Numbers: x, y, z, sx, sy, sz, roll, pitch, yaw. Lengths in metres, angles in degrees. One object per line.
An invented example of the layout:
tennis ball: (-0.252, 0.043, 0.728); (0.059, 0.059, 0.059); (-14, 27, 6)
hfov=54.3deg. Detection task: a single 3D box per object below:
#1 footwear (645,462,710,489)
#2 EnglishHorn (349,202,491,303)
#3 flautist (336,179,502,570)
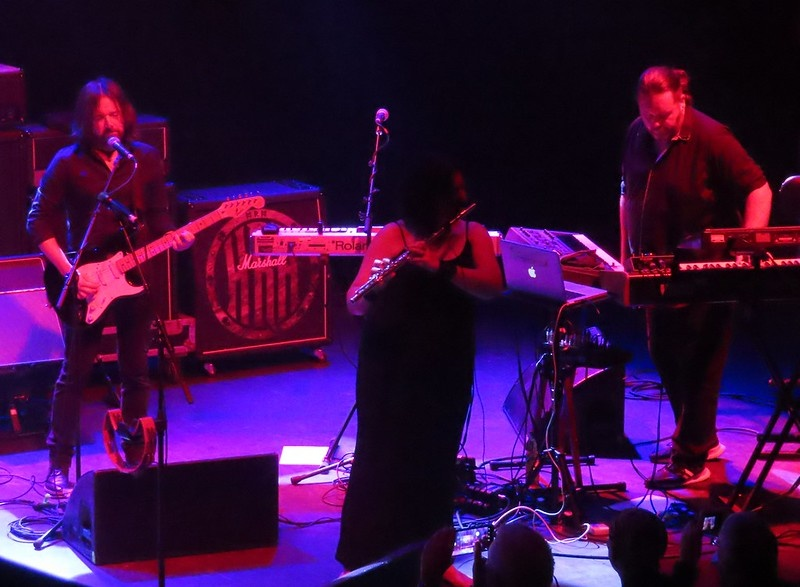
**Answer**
footwear: (1.602, 1.040, 4.488); (0.315, 0.124, 0.163); (-3, -2, -1)
EnglishHorn: (0.020, -0.221, 3.391); (0.456, 0.413, 0.388); (-6, 17, -7)
flautist: (0.084, 0.356, 3.386); (0.650, 1.834, 0.583); (3, 11, -4)
